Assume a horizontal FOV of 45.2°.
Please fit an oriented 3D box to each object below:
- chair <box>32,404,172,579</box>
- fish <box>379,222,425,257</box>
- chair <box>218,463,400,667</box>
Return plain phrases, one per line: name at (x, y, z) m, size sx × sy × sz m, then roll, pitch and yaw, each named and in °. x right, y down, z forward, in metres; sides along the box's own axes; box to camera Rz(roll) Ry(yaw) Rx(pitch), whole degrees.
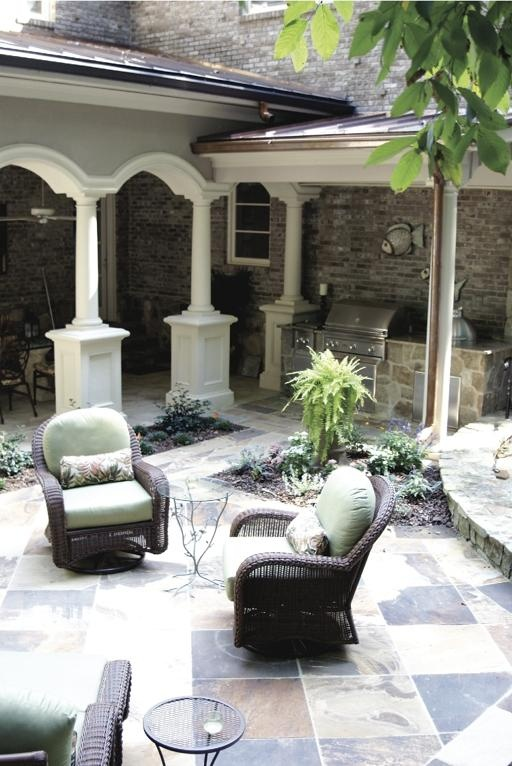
chair at (-1.264, 0.828, 4.887) m, size 0.915 × 1.059 × 1.138 m, roll -3°, pitch 9°, yaw -23°
fish at (2.220, -2.188, 9.347) m, size 0.730 × 0.513 × 0.154 m, roll 10°, pitch 13°, yaw 44°
chair at (0.237, 1.080, 3.862) m, size 1.053 × 0.957 × 0.923 m, roll 1°, pitch 5°, yaw -2°
